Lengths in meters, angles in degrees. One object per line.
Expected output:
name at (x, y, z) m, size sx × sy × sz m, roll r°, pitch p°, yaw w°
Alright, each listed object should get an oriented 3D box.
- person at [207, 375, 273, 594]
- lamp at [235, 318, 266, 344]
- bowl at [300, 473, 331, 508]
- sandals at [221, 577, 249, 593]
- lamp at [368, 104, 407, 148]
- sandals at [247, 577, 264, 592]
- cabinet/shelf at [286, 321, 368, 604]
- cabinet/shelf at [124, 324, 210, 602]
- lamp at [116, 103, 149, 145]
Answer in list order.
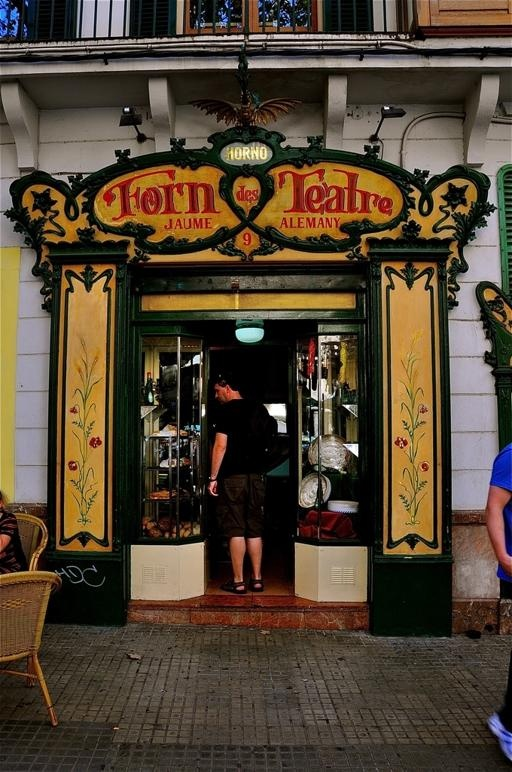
person at (-0.117, 0.848, 6.750) m, size 0.486 × 1.420 × 0.542 m, roll 2°, pitch 10°, yaw 1°
lamp at (-0.052, -0.423, 6.751) m, size 0.207 × 0.204 × 0.270 m, roll 1°, pitch 11°, yaw -3°
bowl at (0.445, 0.817, 6.660) m, size 0.244 × 0.265 × 0.103 m, roll -25°, pitch -22°, yaw 38°
sandals at (-0.166, 1.544, 6.690) m, size 0.083 × 0.086 × 0.210 m, roll 1°, pitch 2°, yaw -32°
lamp at (1.016, -2.019, 6.654) m, size 0.277 × 0.320 × 0.435 m, roll 3°, pitch 11°, yaw 8°
sandals at (0.003, 1.551, 6.749) m, size 0.126 × 0.114 × 0.244 m, roll 2°, pitch 11°, yaw 0°
cabinet/shelf at (0.540, 0.638, 6.701) m, size 0.673 × 2.068 × 0.323 m, roll 4°, pitch -11°, yaw -30°
cabinet/shelf at (-0.673, 0.605, 6.634) m, size 0.552 × 1.943 × 0.692 m, roll 1°, pitch 10°, yaw -6°
lamp at (-0.946, -2.040, 6.741) m, size 0.224 × 0.277 × 0.303 m, roll -4°, pitch 18°, yaw -3°
